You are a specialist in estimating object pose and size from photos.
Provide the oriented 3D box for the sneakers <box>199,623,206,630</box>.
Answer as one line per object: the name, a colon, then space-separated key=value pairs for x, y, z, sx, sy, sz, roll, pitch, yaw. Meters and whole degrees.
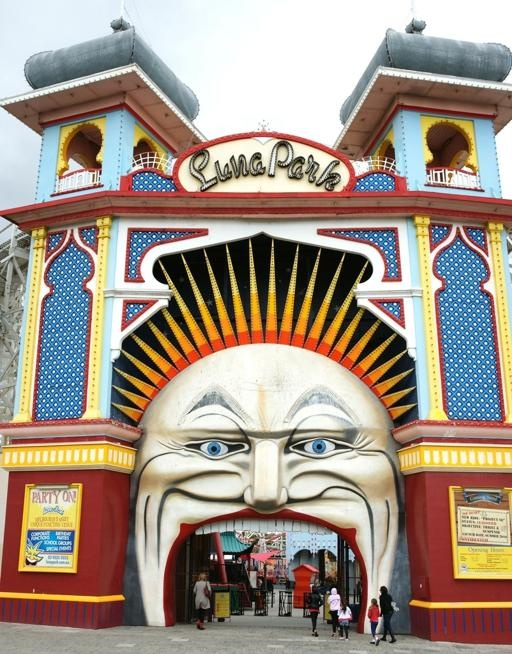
sneakers: x=-1.023 y=5.646 z=13.703 sx=0.163 sy=0.125 sz=0.207 roll=0 pitch=-36 yaw=1
